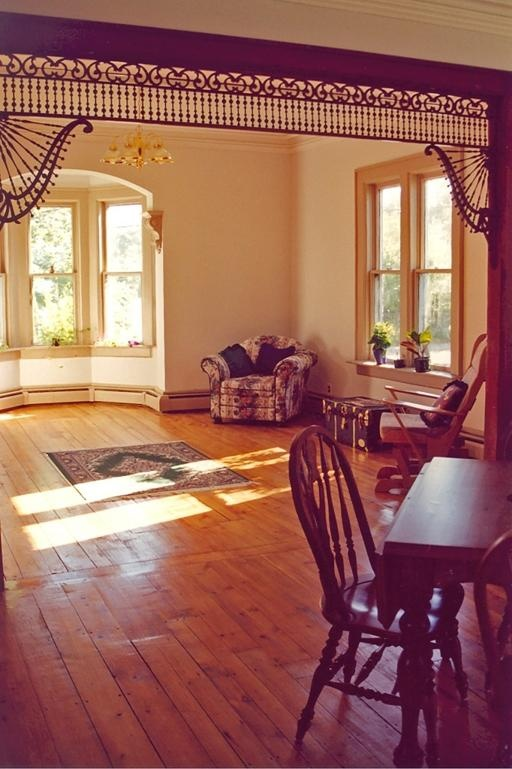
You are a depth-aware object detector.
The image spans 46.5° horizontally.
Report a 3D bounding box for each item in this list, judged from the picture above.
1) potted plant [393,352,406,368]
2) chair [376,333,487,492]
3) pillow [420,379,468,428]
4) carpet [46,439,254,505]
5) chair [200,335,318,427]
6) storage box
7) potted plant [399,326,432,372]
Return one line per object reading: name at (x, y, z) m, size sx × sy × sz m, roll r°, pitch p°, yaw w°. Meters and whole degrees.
potted plant at (1.506, -0.236, 6.273) m, size 0.119 × 0.103 × 0.096 m, roll 4°, pitch -4°, yaw -41°
chair at (1.382, 0.213, 4.753) m, size 0.937 × 1.034 × 0.911 m, roll -6°, pitch 12°, yaw -15°
pillow at (1.397, 0.105, 4.521) m, size 0.311 × 0.452 × 0.464 m, roll 2°, pitch 3°, yaw -1°
carpet at (-1.025, 0.745, 5.347) m, size 1.362 × 0.143 × 1.889 m, roll -4°, pitch 3°, yaw -28°
chair at (0.064, -0.081, 7.457) m, size 1.382 × 1.041 × 1.161 m, roll 1°, pitch 7°, yaw 3°
storage box at (1.119, 0.412, 6.253) m, size 0.581 × 0.442 × 0.865 m, roll -1°, pitch 6°, yaw -20°
potted plant at (1.605, -0.340, 5.863) m, size 0.429 × 0.423 × 0.386 m, roll 0°, pitch 0°, yaw -5°
